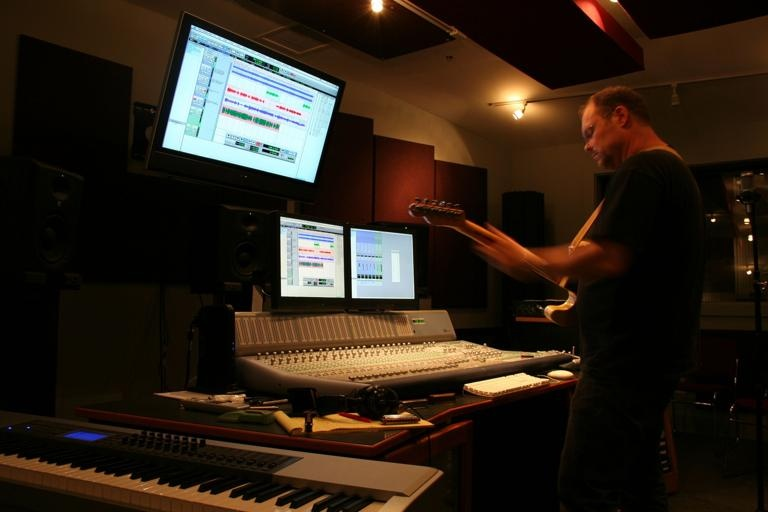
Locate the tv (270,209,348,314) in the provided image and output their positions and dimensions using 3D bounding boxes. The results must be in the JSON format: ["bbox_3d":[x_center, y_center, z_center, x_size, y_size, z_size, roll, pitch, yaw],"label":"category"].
[{"bbox_3d":[-0.416,0.050,3.303,0.054,0.510,0.532,-9,-12,41],"label":"tv"}]

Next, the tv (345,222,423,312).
[{"bbox_3d":[-0.023,0.072,3.602,0.514,0.460,0.050,7,-17,-35],"label":"tv"}]

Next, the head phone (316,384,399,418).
[{"bbox_3d":[-0.118,0.616,2.608,0.215,0.080,0.174,-8,-12,23],"label":"head phone"}]

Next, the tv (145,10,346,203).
[{"bbox_3d":[-0.860,-0.892,3.665,1.283,0.878,0.320,19,-11,-39],"label":"tv"}]

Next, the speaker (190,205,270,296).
[{"bbox_3d":[-0.783,-0.028,3.113,0.420,0.417,0.252,2,-6,-6],"label":"speaker"}]
